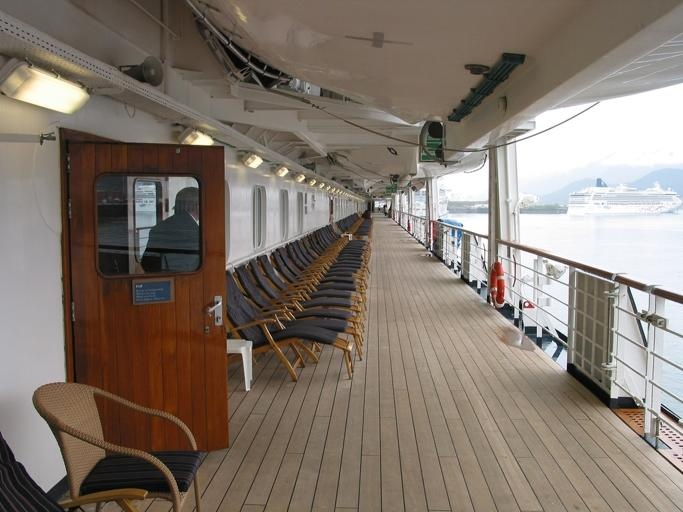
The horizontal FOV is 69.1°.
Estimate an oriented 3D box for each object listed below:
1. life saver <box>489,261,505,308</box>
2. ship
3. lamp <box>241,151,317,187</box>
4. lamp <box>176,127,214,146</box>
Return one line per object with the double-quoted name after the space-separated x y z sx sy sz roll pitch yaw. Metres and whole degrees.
2.247 0.430 7.175 0.223 0.734 0.434 2 10 18 "life saver"
6.432 -1.258 11.303 1.928 0.771 1.182 3 6 38 "ship"
-1.036 -1.349 7.515 0.163 0.242 1.531 -6 -7 28 "lamp"
-1.372 -1.138 4.705 0.339 0.144 0.270 -8 12 -38 "lamp"
